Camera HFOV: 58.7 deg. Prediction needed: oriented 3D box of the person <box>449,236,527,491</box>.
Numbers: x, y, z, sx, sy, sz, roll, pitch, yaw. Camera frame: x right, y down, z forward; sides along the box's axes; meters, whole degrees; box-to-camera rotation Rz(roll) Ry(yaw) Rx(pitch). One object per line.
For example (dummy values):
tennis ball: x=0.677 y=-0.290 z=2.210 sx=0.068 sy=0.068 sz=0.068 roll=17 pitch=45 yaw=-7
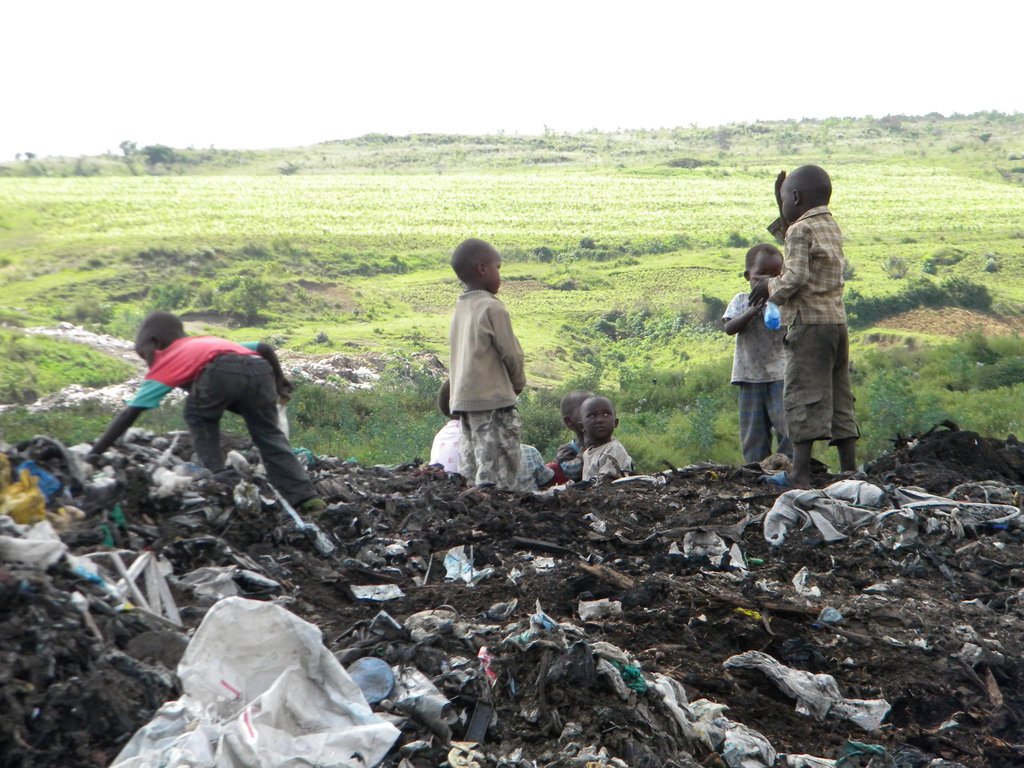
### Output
person: x=-0.180 y=-0.154 z=7.024 sx=0.556 sy=1.916 sz=0.724 roll=-7 pitch=16 yaw=-18

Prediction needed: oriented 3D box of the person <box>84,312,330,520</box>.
person: x=-2.001 y=0.174 z=6.263 sx=1.418 sy=1.312 sz=0.530 roll=-1 pitch=15 yaw=4

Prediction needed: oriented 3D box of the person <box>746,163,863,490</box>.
person: x=2.044 y=-0.427 z=6.260 sx=0.575 sy=2.135 sz=0.751 roll=-1 pitch=15 yaw=2
